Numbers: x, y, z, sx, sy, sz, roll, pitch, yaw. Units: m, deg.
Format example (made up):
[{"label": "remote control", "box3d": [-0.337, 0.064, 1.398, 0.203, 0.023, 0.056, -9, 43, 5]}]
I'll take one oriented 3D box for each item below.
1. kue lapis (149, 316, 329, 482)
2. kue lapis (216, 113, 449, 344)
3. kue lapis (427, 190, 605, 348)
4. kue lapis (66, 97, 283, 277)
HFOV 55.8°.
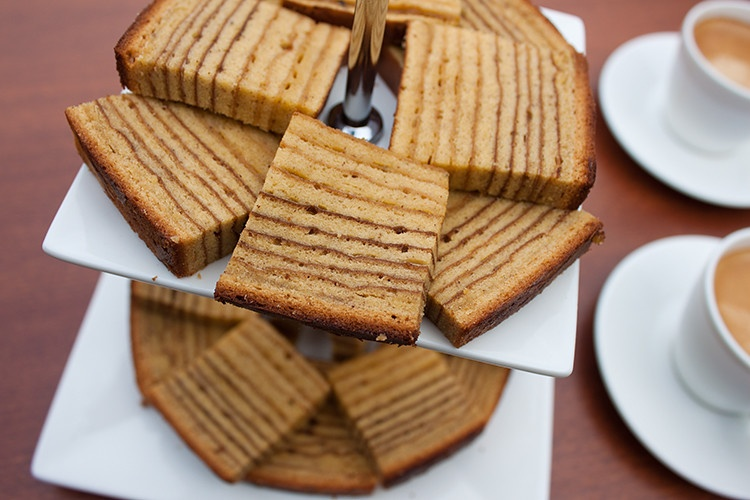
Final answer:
[{"label": "kue lapis", "box3d": [-0.207, 0.239, 1.094, 0.229, 0.054, 0.224, -41, 76, -15]}, {"label": "kue lapis", "box3d": [-0.055, -0.030, 1.068, 0.295, 0.134, 0.265, 16, 51, 3]}, {"label": "kue lapis", "box3d": [0.184, -0.011, 1.132, 0.297, 0.106, 0.196, -28, 61, -28]}, {"label": "kue lapis", "box3d": [-0.303, -0.122, 1.133, 0.289, 0.073, 0.293, -25, 71, -26]}]
